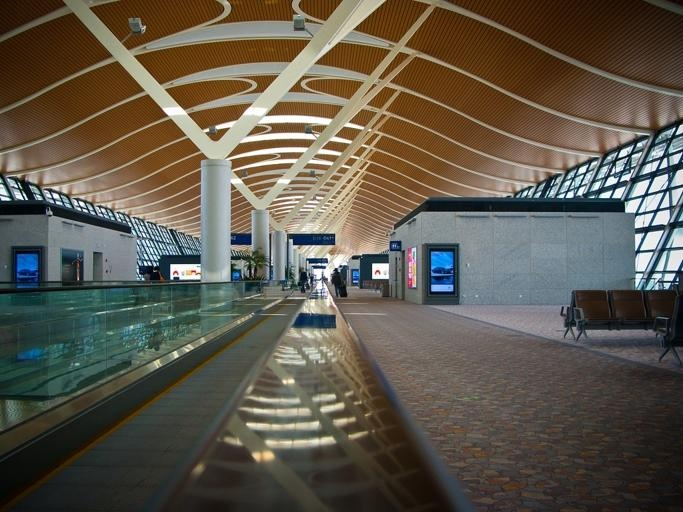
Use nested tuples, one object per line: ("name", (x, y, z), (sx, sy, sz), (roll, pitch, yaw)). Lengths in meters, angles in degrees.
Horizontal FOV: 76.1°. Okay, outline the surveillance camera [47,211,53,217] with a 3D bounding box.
("surveillance camera", (-12.920, -1.826, 19.270), (0.103, 0.241, 0.309), (-2, -2, 6))
